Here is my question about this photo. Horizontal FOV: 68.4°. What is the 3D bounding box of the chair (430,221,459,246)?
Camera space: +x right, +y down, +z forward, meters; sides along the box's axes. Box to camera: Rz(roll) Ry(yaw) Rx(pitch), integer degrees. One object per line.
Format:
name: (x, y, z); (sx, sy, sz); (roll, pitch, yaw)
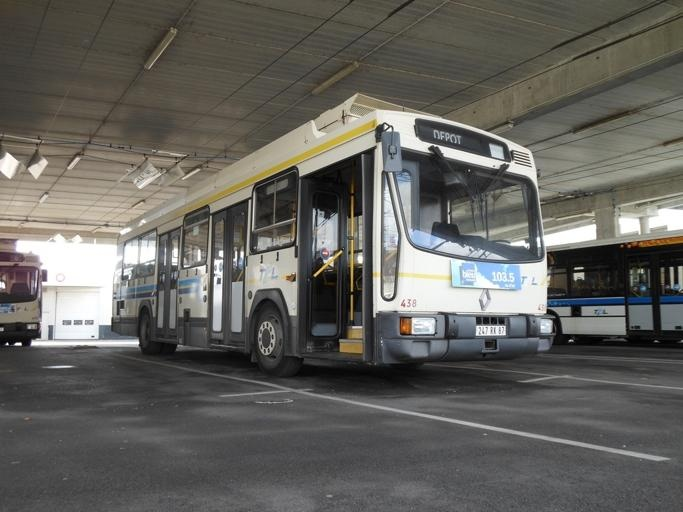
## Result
chair: (1.504, -0.343, 7.428); (0.429, 0.286, 0.141); (10, -8, -31)

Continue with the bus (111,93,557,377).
bus: (-1.456, 0.566, 12.590); (4.261, 4.190, 12.359); (5, -10, -30)
